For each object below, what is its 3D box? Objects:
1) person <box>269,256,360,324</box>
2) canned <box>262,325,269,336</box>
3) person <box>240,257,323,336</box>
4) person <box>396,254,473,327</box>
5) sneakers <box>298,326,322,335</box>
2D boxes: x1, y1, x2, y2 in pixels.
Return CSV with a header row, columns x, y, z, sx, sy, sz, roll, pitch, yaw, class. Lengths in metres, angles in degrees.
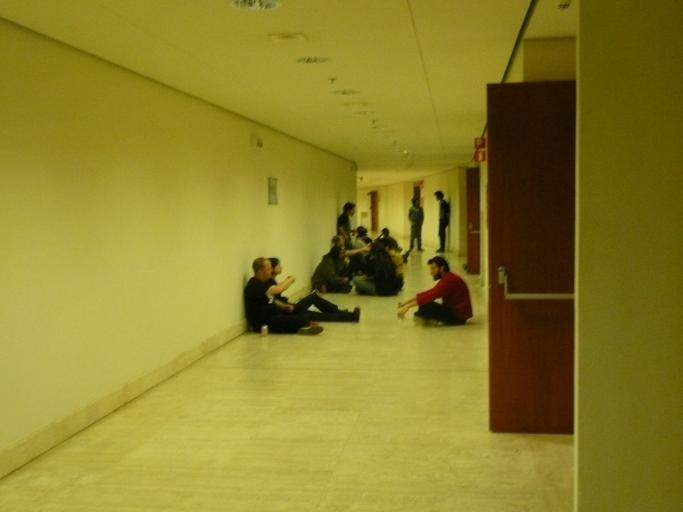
x,y,z,sx,sy,sz,roll,pitch,yaw,class
-0.427,0.526,8.301,1.387,0.887,0.572,3,11,-8,person
-1.000,0.969,7.686,0.100,0.120,0.103,0,-4,-2,canned
-0.809,0.510,7.781,1.007,1.011,0.448,1,6,18,person
1.273,0.436,7.966,0.963,0.956,0.717,2,8,5,person
-0.392,0.941,7.545,0.306,0.123,0.125,-3,6,1,sneakers
